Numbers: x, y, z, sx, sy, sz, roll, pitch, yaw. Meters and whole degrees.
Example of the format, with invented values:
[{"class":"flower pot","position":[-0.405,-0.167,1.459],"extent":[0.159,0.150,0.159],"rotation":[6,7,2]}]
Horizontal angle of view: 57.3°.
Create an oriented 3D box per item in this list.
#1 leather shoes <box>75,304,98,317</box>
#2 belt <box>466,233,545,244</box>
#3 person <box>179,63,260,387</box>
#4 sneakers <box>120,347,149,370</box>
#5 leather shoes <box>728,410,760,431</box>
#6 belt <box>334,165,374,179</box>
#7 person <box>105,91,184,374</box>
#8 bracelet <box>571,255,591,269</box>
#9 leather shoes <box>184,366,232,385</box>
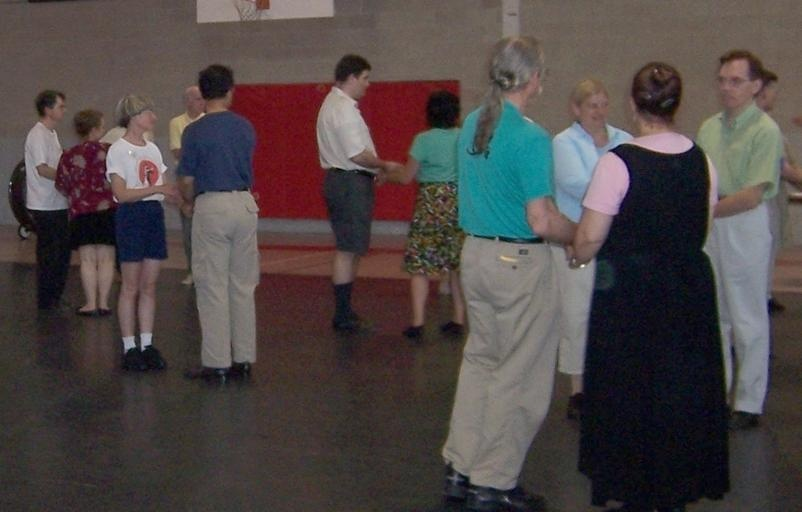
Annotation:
[{"class":"leather shoes","position":[-3.088,0.528,7.226],"extent":[0.208,0.078,0.097],"rotation":[11,12,35]},{"class":"belt","position":[0.602,-0.088,3.908],"extent":[0.303,0.040,0.053],"rotation":[2,12,6]},{"class":"person","position":[-1.327,-0.225,5.344],"extent":[0.566,2.268,0.357],"rotation":[-2,12,-10]},{"class":"sneakers","position":[-2.062,0.797,5.690],"extent":[0.116,0.109,0.228],"rotation":[-4,7,-30]},{"class":"leather shoes","position":[2.222,1.064,4.734],"extent":[0.133,0.090,0.128],"rotation":[-1,-4,1]},{"class":"belt","position":[-0.397,-0.719,6.400],"extent":[0.351,0.094,0.090],"rotation":[-1,12,-7]},{"class":"person","position":[-2.007,-0.192,5.740],"extent":[0.463,2.073,0.724],"rotation":[-5,12,-21]},{"class":"bracelet","position":[0.939,0.028,3.834],"extent":[0.116,0.048,0.080],"rotation":[16,-20,-3]},{"class":"leather shoes","position":[-1.434,0.877,5.486],"extent":[0.333,0.133,0.127],"rotation":[9,3,6]}]
